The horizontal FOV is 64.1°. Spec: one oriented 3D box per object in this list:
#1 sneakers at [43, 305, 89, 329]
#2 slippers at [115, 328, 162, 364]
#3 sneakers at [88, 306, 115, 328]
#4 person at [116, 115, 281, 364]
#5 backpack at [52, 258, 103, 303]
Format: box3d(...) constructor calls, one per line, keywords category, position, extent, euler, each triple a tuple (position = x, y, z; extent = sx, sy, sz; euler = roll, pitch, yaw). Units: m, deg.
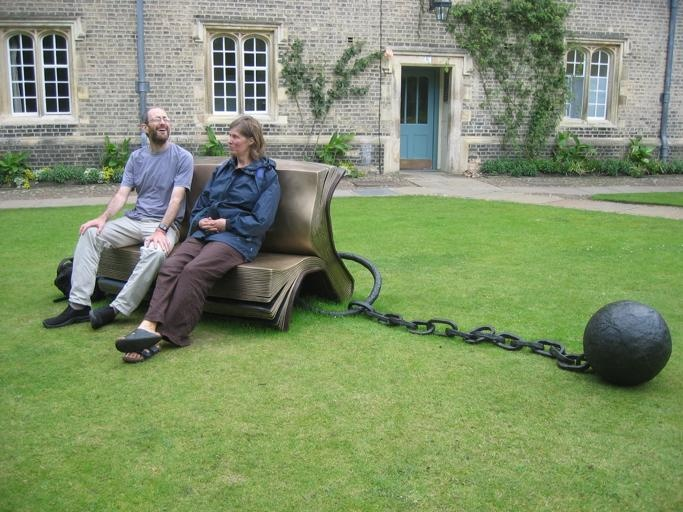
box3d(category="sneakers", position=(-2.206, 0.468, 4.473), extent=(0.408, 0.199, 0.147), euler=(-6, 10, -33))
box3d(category="slippers", position=(-1.399, 0.622, 3.748), extent=(0.168, 0.143, 0.322), euler=(-1, -1, 8))
box3d(category="sneakers", position=(-1.921, 0.485, 4.413), extent=(0.202, 0.180, 0.233), euler=(-4, 10, -28))
box3d(category="person", position=(-1.035, -0.248, 4.329), extent=(1.130, 1.730, 0.670), euler=(-6, 11, -33))
box3d(category="backpack", position=(-2.359, 0.227, 4.967), extent=(0.465, 0.485, 0.338), euler=(-4, 9, -19))
